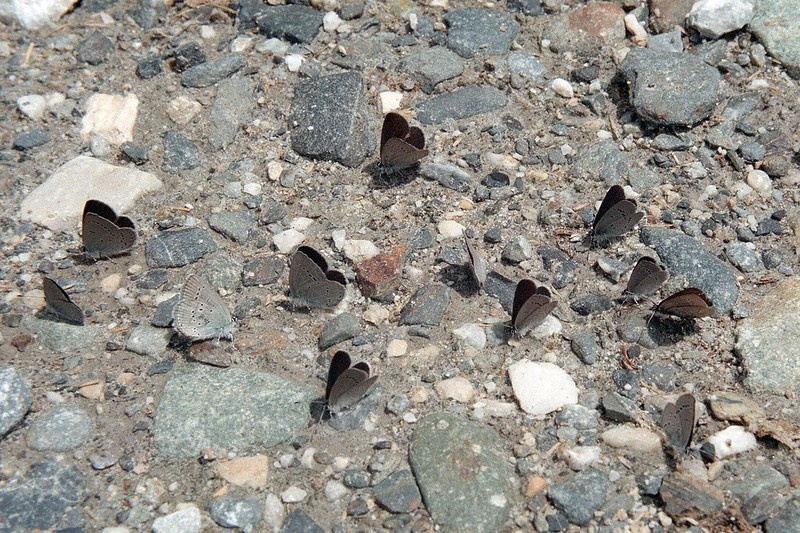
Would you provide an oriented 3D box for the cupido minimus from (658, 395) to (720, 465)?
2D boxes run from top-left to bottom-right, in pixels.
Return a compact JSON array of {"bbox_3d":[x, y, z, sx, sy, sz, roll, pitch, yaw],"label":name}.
[{"bbox_3d":[2.774,1.519,7.150,0.136,0.377,0.667,-7,-61,-23],"label":"cupido minimus"}]
